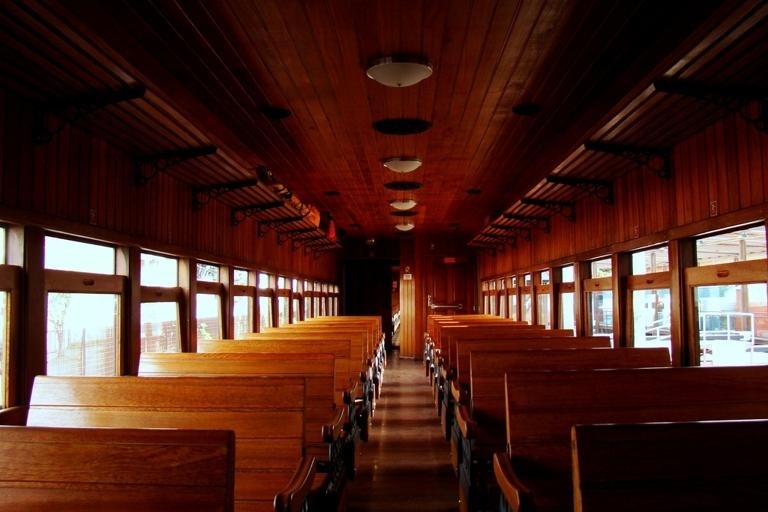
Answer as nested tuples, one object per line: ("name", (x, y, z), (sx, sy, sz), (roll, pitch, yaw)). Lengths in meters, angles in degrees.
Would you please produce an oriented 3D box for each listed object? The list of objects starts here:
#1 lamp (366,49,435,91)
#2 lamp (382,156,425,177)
("lamp", (0.100, -1.406, 4.540), (0.512, 0.129, 0.494), (-2, -7, -25))
("lamp", (0.202, -1.082, 6.643), (0.406, 0.165, 0.375), (1, -11, -3))
